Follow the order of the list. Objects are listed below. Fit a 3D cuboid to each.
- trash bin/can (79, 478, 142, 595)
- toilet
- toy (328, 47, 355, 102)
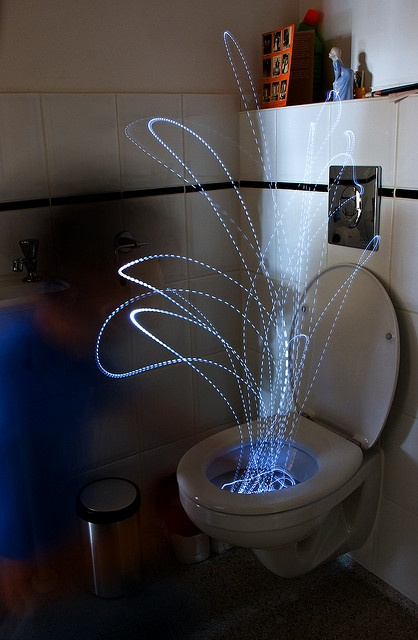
[{"bbox_3d":[-0.282,0.625,1.205,0.117,0.251,0.135,-3,9,-18],"label":"trash bin/can"},{"bbox_3d":[0.148,0.166,0.991,0.464,0.553,0.391,-7,5,-27],"label":"toilet"},{"bbox_3d":[0.319,-0.590,1.040,0.050,0.125,0.047,-1,5,28],"label":"toy"}]
